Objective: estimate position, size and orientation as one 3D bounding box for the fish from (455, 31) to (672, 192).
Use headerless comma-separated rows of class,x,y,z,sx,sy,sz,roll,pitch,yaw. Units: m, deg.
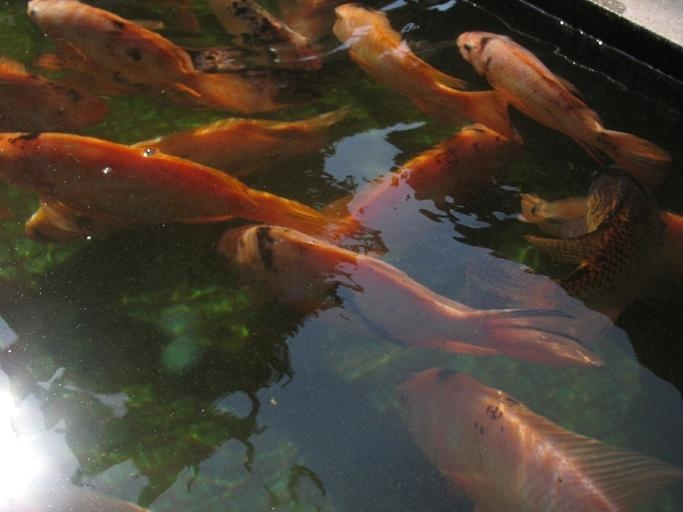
fish,0.821,-0.506,3.256,0.842,0.183,0.290,33,-5,10
